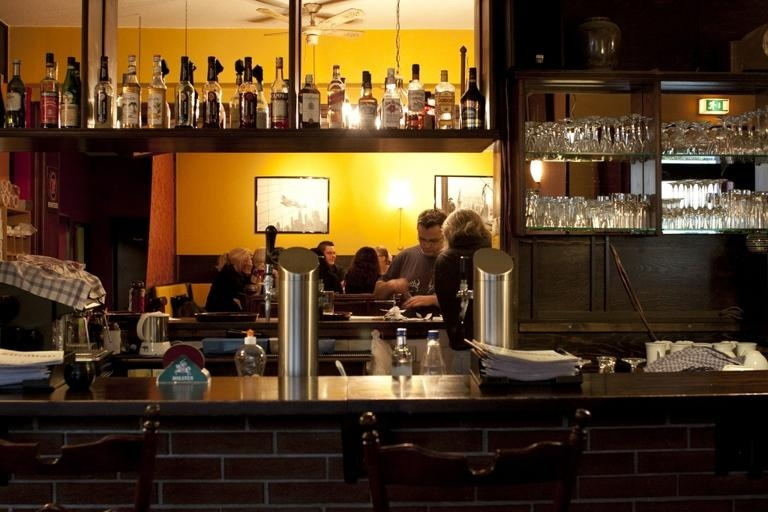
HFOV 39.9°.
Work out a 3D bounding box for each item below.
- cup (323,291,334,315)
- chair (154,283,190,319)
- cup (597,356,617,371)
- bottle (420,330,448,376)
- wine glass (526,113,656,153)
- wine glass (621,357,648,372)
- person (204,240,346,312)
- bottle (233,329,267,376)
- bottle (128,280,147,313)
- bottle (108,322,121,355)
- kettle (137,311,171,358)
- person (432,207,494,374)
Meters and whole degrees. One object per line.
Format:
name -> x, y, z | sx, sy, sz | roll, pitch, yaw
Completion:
cup -> -0.438, 0.357, 8.266 | 0.095, 0.153, 0.135 | -1, 5, -12
chair -> -2.348, 0.521, 12.295 | 0.337, 0.384, 1.020 | 1, 1, 9
cup -> 1.455, 0.688, 6.889 | 0.115, 0.084, 0.116 | 0, -5, 0
bottle -> 0.301, 0.580, 6.430 | 0.132, 0.310, 0.327 | 0, 5, 3
wine glass -> 1.414, -0.830, 7.303 | 0.897, 0.268, 0.094 | -1, 4, -3
wine glass -> 1.675, 0.701, 7.002 | 0.144, 0.154, 0.133 | 1, -4, -6
person -> -1.077, 0.228, 9.639 | 0.927, 0.537, 0.917 | 0, -4, 8
bottle -> -0.797, 0.594, 6.404 | 0.196, 0.300, 0.180 | -2, 2, 0
bottle -> -1.963, 0.316, 8.464 | 0.114, 0.218, 0.451 | -1, 5, -11
bottle -> -1.889, 0.555, 7.434 | 0.081, 0.124, 0.082 | 5, 1, 0
kettle -> -1.620, 0.542, 7.518 | 0.235, 0.296, 0.263 | -2, -1, 33
person -> 0.534, 0.239, 7.245 | 0.386, 1.104, 0.716 | 0, 4, 9
